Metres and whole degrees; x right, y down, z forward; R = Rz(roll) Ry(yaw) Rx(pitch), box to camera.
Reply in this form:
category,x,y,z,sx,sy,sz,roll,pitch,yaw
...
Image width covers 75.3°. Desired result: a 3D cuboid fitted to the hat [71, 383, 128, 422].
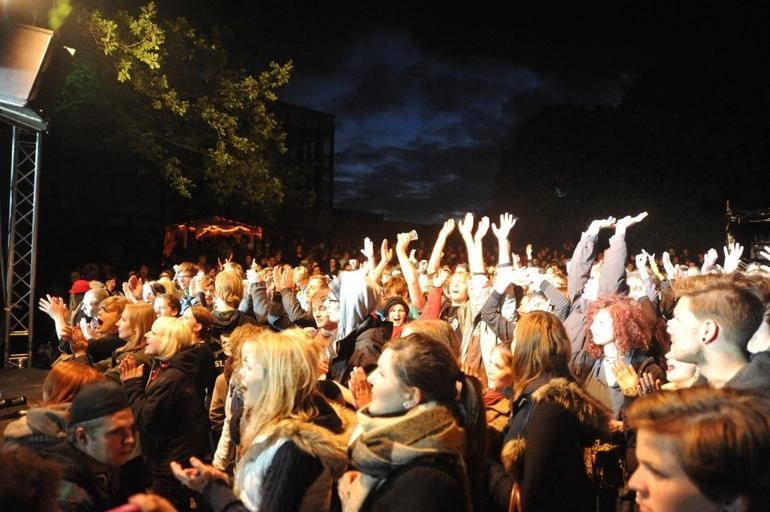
category,x,y,z,sx,sy,sz,roll,pitch,yaw
hat,-2.332,1.195,4.055,0.374,0.231,0.273,-25,0,-4

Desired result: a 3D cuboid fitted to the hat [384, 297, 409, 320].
category,x,y,z,sx,sy,sz,roll,pitch,yaw
hat,0.154,0.667,6.240,0.228,0.257,0.281,7,-29,-14

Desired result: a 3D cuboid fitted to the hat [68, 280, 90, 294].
category,x,y,z,sx,sy,sz,roll,pitch,yaw
hat,-6.454,0.700,10.557,0.448,0.233,0.598,-1,8,-32
